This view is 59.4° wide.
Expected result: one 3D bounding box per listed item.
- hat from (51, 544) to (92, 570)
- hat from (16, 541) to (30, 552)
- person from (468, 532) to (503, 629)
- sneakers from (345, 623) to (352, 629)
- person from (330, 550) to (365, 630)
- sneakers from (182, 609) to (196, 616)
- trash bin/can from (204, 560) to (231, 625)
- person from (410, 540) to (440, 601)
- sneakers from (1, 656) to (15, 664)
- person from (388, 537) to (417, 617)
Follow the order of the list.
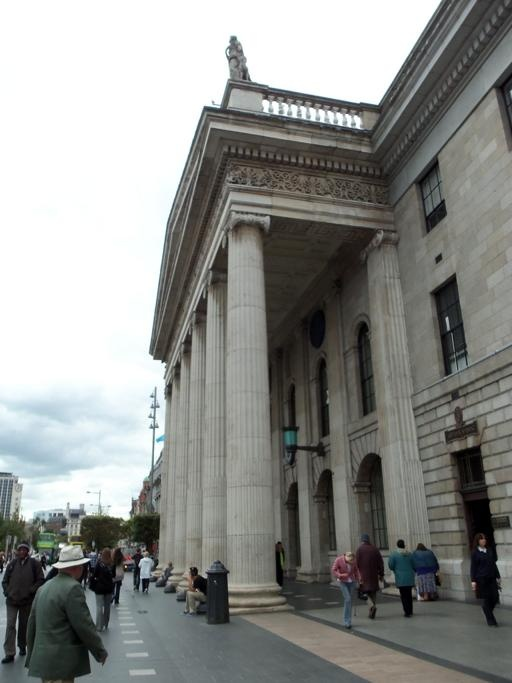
[{"bbox_3d":[-1.197,1.389,2.891,0.205,0.136,0.211,-8,-9,-31],"label":"hat"},{"bbox_3d":[-3.498,3.078,6.750,0.184,0.071,0.241,4,-28,-17],"label":"hat"},{"bbox_3d":[3.855,3.989,7.526,0.424,1.383,0.737,-10,-19,25],"label":"person"},{"bbox_3d":[1.681,5.125,8.068,0.060,0.088,0.200,1,-34,0],"label":"sneakers"},{"bbox_3d":[1.770,4.796,8.721,0.486,1.278,1.392,-5,-19,11],"label":"person"},{"bbox_3d":[-1.650,6.678,11.038,0.282,0.246,0.115,9,-27,3],"label":"sneakers"},{"bbox_3d":[-0.808,5.336,9.551,0.453,1.191,0.507,0,-17,-6],"label":"trash bin/can"},{"bbox_3d":[4.303,5.761,11.432,0.567,1.429,0.485,-8,-2,1],"label":"person"},{"bbox_3d":[-3.355,4.289,6.047,0.070,0.095,0.220,13,-31,-9],"label":"sneakers"},{"bbox_3d":[3.112,4.982,9.479,0.491,1.380,0.879,-7,-19,18],"label":"person"}]
